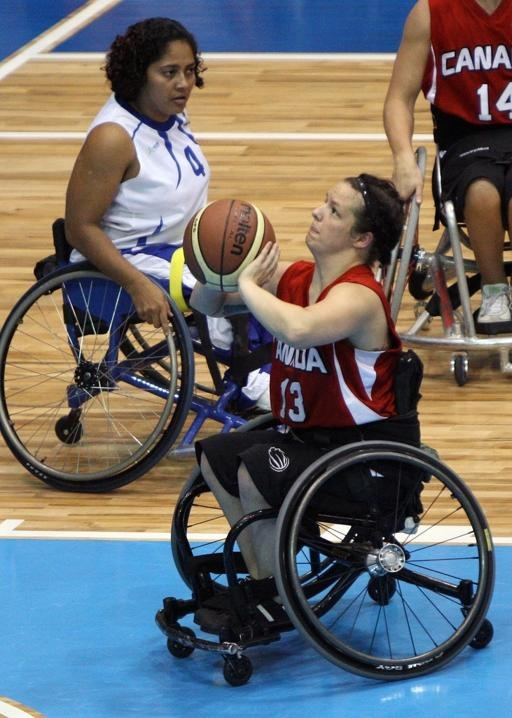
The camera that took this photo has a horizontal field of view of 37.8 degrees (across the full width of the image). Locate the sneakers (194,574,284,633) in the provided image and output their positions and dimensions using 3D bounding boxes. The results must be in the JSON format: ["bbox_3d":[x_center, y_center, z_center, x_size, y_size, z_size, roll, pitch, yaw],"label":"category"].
[{"bbox_3d":[-0.033,0.428,1.359,0.109,0.059,0.143,4,5,37],"label":"sneakers"}]

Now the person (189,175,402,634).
[{"bbox_3d":[0.071,0.034,1.402,0.341,0.740,0.454,4,13,33],"label":"person"}]

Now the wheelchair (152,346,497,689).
[{"bbox_3d":[0.097,0.309,1.498,0.643,0.563,0.523,4,-8,-34],"label":"wheelchair"}]

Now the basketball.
[{"bbox_3d":[-0.029,-0.235,1.639,0.226,0.185,0.212,0,1,3],"label":"basketball"}]
